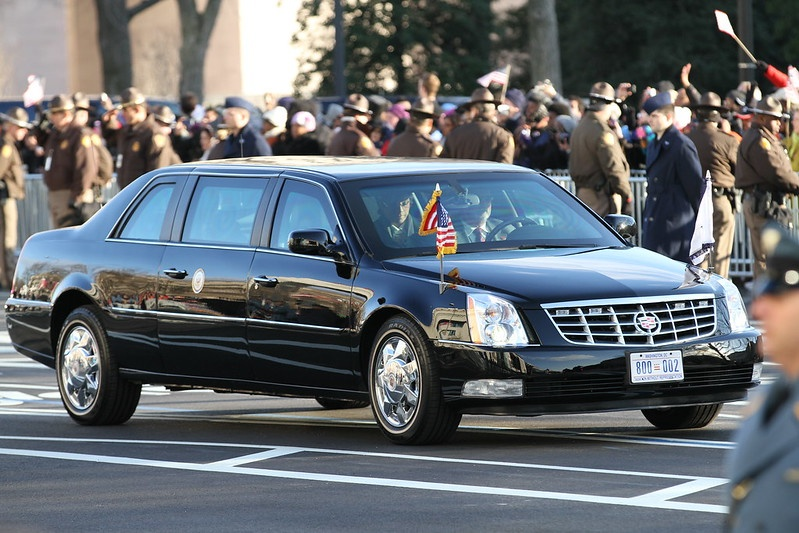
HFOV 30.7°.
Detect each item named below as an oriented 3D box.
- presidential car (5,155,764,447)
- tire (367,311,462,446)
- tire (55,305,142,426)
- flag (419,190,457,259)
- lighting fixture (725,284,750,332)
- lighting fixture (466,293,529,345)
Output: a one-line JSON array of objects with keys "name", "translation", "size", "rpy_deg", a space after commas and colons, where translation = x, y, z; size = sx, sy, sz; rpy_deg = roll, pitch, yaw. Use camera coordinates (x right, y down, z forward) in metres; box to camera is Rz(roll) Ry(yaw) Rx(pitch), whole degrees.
[{"name": "presidential car", "translation": [-0.221, 0.187, 11.205], "size": [5.093, 1.390, 2.470], "rpy_deg": [-2, -3, 35]}, {"name": "tire", "translation": [0.066, 0.818, 10.253], "size": [0.642, 0.909, 0.221], "rpy_deg": [1, 7, 30]}, {"name": "tire", "translation": [-2.443, 0.808, 11.768], "size": [1.097, 0.965, 0.412], "rpy_deg": [0, -3, 43]}, {"name": "flag", "translation": [0.258, -0.313, 10.494], "size": [0.282, 0.504, 0.692], "rpy_deg": [-2, 5, 1]}, {"name": "lighting fixture", "translation": [2.428, 0.309, 10.564], "size": [0.092, 0.305, 0.256], "rpy_deg": [-17, -18, 37]}, {"name": "lighting fixture", "translation": [0.653, 0.393, 10.013], "size": [0.317, 0.376, 0.182], "rpy_deg": [-9, 4, 6]}]
